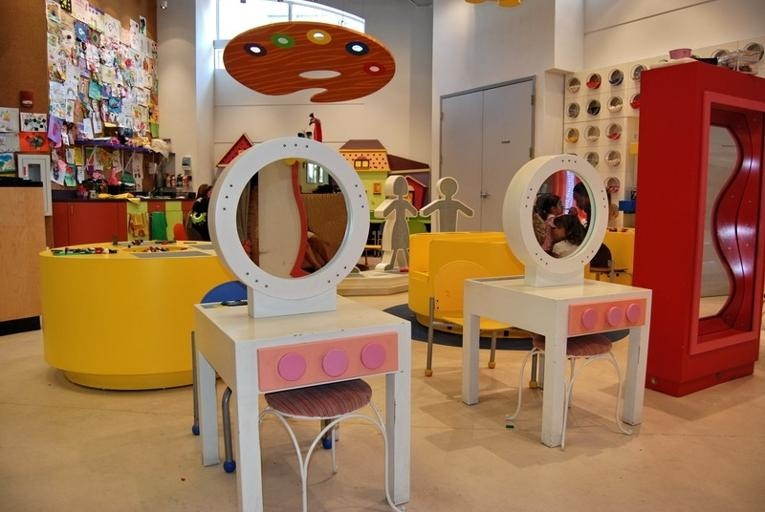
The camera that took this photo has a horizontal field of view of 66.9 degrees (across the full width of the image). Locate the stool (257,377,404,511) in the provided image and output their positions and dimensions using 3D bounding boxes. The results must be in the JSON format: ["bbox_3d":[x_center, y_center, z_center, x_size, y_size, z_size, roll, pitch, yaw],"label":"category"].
[{"bbox_3d":[-0.325,0.863,3.208,0.734,0.663,0.681,0,2,-23],"label":"stool"}]

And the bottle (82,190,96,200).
[{"bbox_3d":[-3.754,-0.776,7.355,0.167,0.130,0.094,3,6,-8],"label":"bottle"}]

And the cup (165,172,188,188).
[{"bbox_3d":[-3.385,-1.237,9.462,0.181,0.153,0.303,3,3,37],"label":"cup"}]

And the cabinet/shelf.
[{"bbox_3d":[-3.449,-0.446,7.499,0.284,0.645,2.153,4,10,24],"label":"cabinet/shelf"}]

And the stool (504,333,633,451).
[{"bbox_3d":[1.224,0.847,3.843,0.809,0.631,0.909,3,3,13],"label":"stool"}]

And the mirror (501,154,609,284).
[{"bbox_3d":[1.128,-0.241,3.843,0.698,0.856,0.226,-3,10,-18],"label":"mirror"}]

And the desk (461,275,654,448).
[{"bbox_3d":[1.149,0.548,4.088,1.055,1.083,1.097,-2,3,-28],"label":"desk"}]

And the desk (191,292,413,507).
[{"bbox_3d":[-0.463,0.572,3.367,1.064,1.125,1.113,-1,3,-28],"label":"desk"}]
